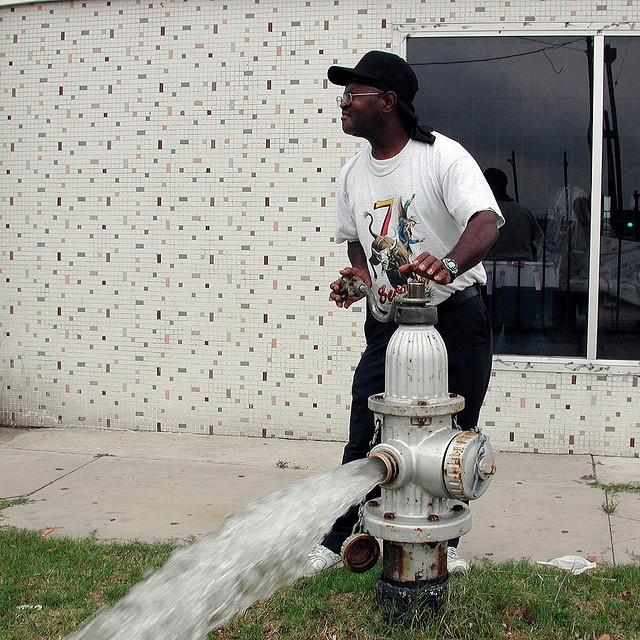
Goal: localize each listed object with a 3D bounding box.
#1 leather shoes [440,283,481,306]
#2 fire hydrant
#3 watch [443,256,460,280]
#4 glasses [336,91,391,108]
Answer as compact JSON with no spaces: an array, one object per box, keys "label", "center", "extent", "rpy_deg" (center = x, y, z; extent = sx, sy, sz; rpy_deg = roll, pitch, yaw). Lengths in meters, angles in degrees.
[{"label":"leather shoes","center":[0.668,-0.113,4.395],"extent":[0.109,0.051,0.134],"rpy_deg":[-30,-5,-35]},{"label":"fire hydrant","center":[0.415,0.536,3.825],"extent":[0.584,1.378,0.431],"rpy_deg":[1,7,13]},{"label":"watch","center":[0.530,-0.215,3.793],"extent":[0.037,0.086,0.070],"rpy_deg":[-29,-4,28]},{"label":"glasses","center":[0.192,-1.018,4.304],"extent":[0.232,0.067,0.067],"rpy_deg":[3,9,23]}]
